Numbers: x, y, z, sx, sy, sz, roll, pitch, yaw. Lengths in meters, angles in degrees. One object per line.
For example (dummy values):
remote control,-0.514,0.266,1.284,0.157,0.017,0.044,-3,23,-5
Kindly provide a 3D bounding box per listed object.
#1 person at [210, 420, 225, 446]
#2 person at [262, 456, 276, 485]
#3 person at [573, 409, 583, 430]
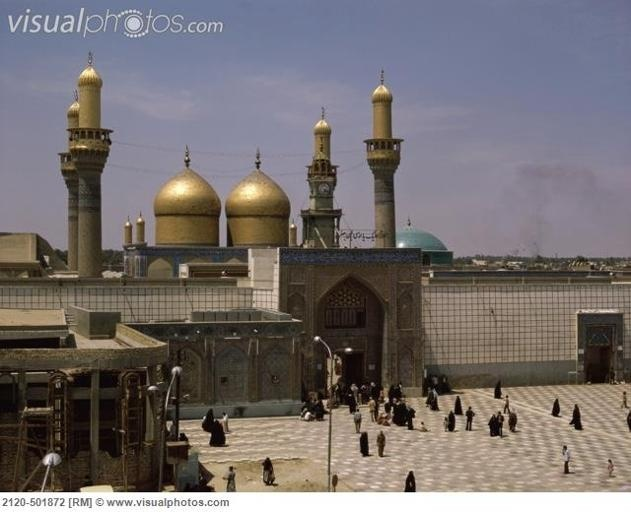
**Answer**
person,-2.842,5.185,43.270,0.453,0.713,0.763,-2,-6,-4
person,-1.253,5.728,39.557,0.331,0.731,0.821,-2,-6,-2
person,8.018,5.011,45.780,0.300,0.714,0.757,-3,-7,9
